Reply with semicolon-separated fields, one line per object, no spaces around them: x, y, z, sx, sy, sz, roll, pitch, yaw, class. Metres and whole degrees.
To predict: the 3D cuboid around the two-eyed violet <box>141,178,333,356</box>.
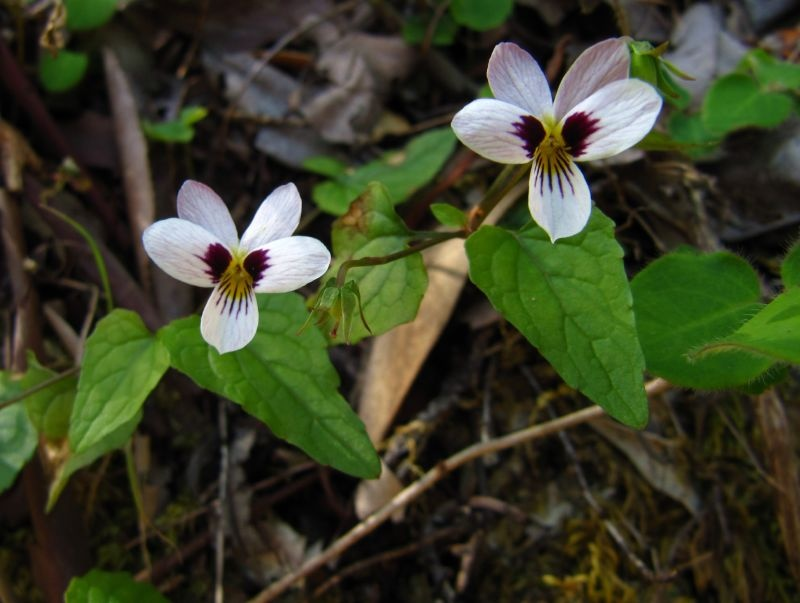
-0.446;-0.099;1.941;0.439;0.141;0.494;9;78;2;two-eyed violet
